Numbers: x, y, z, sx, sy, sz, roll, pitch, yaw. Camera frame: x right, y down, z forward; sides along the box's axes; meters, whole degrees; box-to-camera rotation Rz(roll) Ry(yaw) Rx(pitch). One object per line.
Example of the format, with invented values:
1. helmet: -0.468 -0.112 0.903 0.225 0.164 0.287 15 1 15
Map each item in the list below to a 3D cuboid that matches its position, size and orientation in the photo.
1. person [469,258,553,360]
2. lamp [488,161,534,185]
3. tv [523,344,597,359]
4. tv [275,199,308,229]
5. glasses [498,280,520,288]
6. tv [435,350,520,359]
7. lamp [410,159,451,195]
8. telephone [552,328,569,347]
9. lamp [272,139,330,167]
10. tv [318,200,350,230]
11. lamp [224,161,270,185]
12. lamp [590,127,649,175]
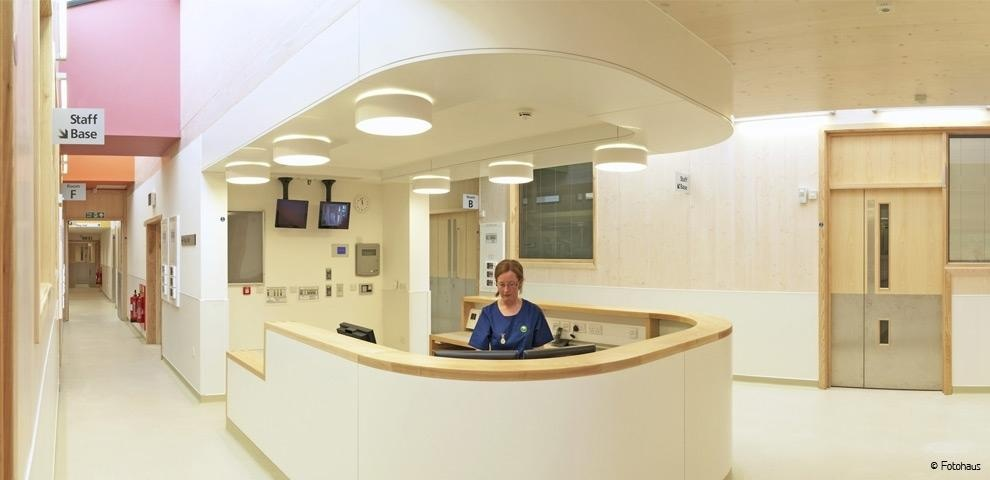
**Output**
1. person: 0.206 0.929 9.147 1.070 1.302 0.485 0 0 22
2. lamp: 0.223 -1.066 9.944 0.510 0.143 0.484 0 0 32
3. tv: 0.862 1.453 8.193 0.950 0.119 0.523 0 0 -31
4. tv: -4.011 -0.546 12.293 0.704 0.533 0.338 3 3 -26
5. glasses: 0.206 0.626 9.010 0.324 0.092 0.122 0 0 -2
6. tv: -0.235 1.470 8.062 1.106 0.084 0.370 0 0 6
7. lamp: -1.235 -1.144 11.218 0.754 0.633 0.670 0 -5 5
8. telephone: 1.095 1.651 10.744 0.301 0.325 0.188 0 0 40
9. lamp: -2.826 -1.353 9.522 0.600 0.163 0.537 -1 -1 17
10. tv: -3.267 -0.530 12.642 0.756 0.559 0.071 1 6 -20
11. lamp: -4.145 -1.177 10.519 0.756 0.342 0.313 0 0 15
12. lamp: 1.934 -1.281 9.486 1.154 0.359 1.009 2 1 1
